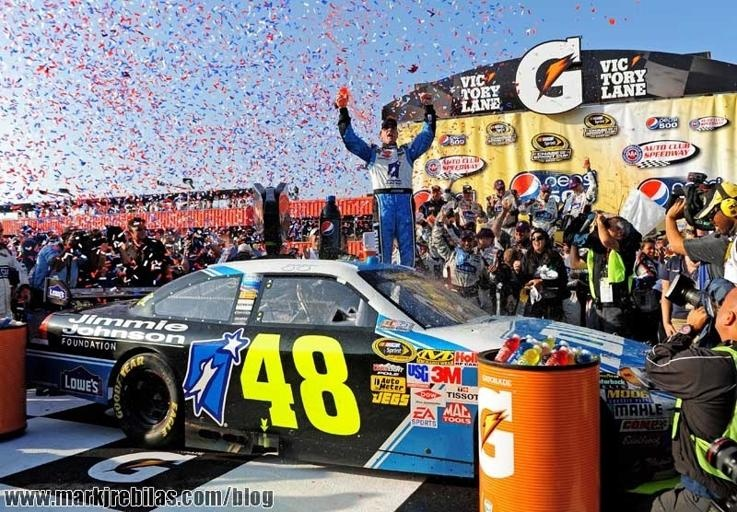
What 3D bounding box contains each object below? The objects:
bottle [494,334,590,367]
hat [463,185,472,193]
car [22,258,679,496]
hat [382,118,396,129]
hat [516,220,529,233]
[{"bbox_3d":[1.208,0.693,4.220,0.393,0.125,0.297,2,-2,38],"label":"bottle"},{"bbox_3d":[2.129,-1.448,12.826,0.179,0.146,0.273,2,-3,12],"label":"hat"},{"bbox_3d":[-0.471,0.931,5.396,5.603,1.740,1.065,2,8,21],"label":"car"},{"bbox_3d":[0.292,-1.856,8.305,0.187,0.166,0.242,-1,7,-2],"label":"hat"},{"bbox_3d":[2.356,-0.437,9.037,0.147,0.179,0.173,8,-31,22],"label":"hat"}]
